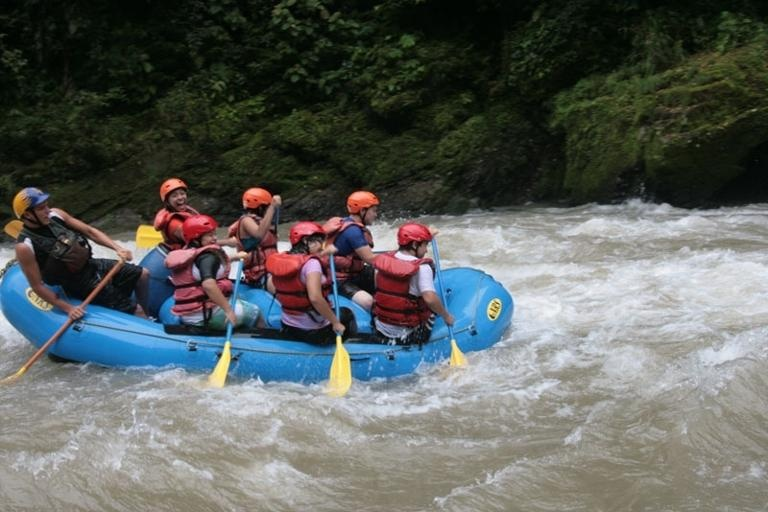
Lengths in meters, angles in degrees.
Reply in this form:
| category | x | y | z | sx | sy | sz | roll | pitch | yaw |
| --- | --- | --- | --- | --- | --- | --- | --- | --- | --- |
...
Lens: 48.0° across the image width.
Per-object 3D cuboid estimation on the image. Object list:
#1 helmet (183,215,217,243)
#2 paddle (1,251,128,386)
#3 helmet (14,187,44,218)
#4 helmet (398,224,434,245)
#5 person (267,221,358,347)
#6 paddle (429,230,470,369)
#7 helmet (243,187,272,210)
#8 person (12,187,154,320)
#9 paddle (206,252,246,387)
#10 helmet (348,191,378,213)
| category | x | y | z | sx | sy | sz | roll | pitch | yaw |
| --- | --- | --- | --- | --- | --- | --- | --- | --- | --- |
| helmet | -2.262 | -0.346 | 10.511 | 0.389 | 0.322 | 0.234 | -5 | 18 | -11 |
| paddle | -3.871 | 0.749 | 10.571 | 2.550 | 0.417 | 0.253 | -35 | -15 | 7 |
| helmet | -4.247 | -0.655 | 10.377 | 0.385 | 0.350 | 0.253 | -11 | 20 | -30 |
| helmet | 0.391 | -0.283 | 10.586 | 0.398 | 0.223 | 0.249 | 5 | 20 | 1 |
| person | -0.887 | 0.353 | 10.391 | 1.005 | 1.513 | 0.539 | -3 | 19 | -5 |
| paddle | 0.678 | 0.586 | 11.053 | 0.355 | 1.695 | 0.285 | -21 | -9 | 20 |
| helmet | -1.721 | -0.769 | 11.337 | 0.423 | 0.186 | 0.291 | 2 | -7 | 16 |
| person | -3.763 | -0.021 | 10.643 | 1.388 | 1.717 | 0.740 | -7 | 20 | -17 |
| paddle | -1.862 | 0.820 | 10.538 | 0.270 | 1.489 | 0.069 | 10 | -7 | -1 |
| helmet | -0.316 | -0.721 | 11.326 | 0.429 | 0.207 | 0.277 | 7 | 6 | 0 |
